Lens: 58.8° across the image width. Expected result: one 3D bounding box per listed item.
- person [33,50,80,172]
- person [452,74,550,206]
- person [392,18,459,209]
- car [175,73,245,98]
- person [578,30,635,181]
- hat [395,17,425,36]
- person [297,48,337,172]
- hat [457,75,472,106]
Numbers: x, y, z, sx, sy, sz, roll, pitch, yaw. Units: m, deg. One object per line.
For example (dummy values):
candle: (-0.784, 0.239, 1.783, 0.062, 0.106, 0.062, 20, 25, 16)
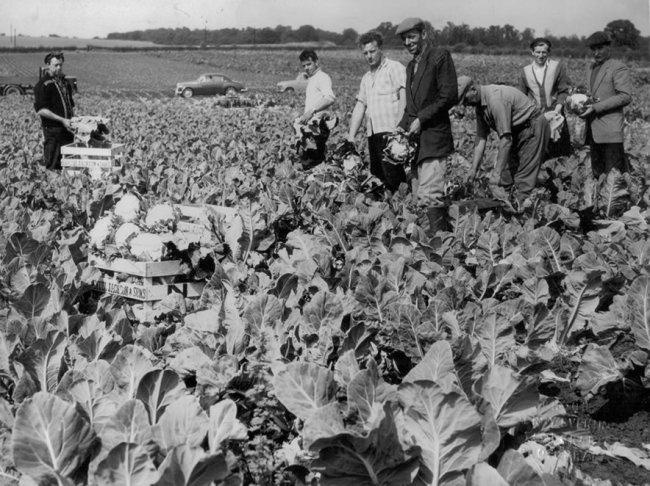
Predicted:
person: (-4.371, -2.164, 9.328, 0.570, 1.728, 1.239, -4, 16, -25)
person: (1.947, -1.175, 6.590, 1.171, 1.347, 0.850, -12, 20, -43)
person: (1.135, -1.468, 6.468, 0.691, 1.959, 0.791, 2, 13, 2)
car: (-4.223, -5.691, 21.234, 2.199, 0.873, 1.116, -4, 17, -12)
person: (3.834, -1.893, 7.860, 0.700, 1.879, 0.760, -10, 18, -42)
hat: (0.893, -2.367, 6.321, 0.296, 0.175, 0.653, 8, 18, 18)
person: (-0.132, -2.054, 8.821, 0.620, 1.690, 1.853, 2, 15, 0)
hat: (1.590, -1.735, 6.556, 0.183, 0.293, 0.471, 5, 16, 12)
